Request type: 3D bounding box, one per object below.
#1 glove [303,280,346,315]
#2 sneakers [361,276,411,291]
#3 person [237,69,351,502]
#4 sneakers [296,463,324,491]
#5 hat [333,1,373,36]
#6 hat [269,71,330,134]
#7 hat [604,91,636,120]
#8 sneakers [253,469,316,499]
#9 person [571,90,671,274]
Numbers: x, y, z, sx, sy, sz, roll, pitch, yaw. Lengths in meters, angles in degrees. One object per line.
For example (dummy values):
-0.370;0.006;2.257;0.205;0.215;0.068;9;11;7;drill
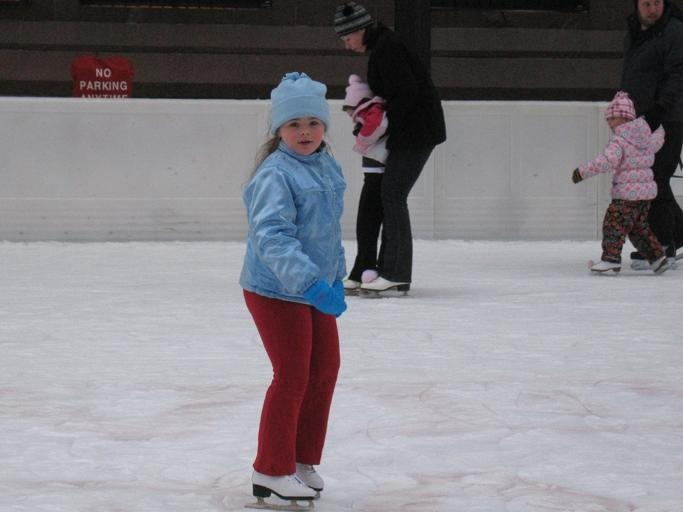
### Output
-0.057;0.133;3.730;0.128;0.153;0.214;-1;11;-2;glove
0.256;0.167;6.676;0.275;0.088;0.097;3;-4;0;sneakers
-0.160;0.089;3.817;0.350;1.346;0.558;-1;12;-1;person
-0.104;0.721;3.781;0.136;0.049;0.046;30;47;30;sneakers
0.064;-1.328;6.493;0.190;0.189;0.210;3;12;15;hat
-0.144;-0.529;3.961;0.215;0.184;0.219;0;2;-20;hat
1.809;-0.979;7.542;0.208;0.184;0.213;-1;0;4;hat
-0.193;0.736;3.746;0.235;0.097;0.077;0;0;4;sneakers
1.809;-0.454;7.480;0.624;1.174;0.337;2;13;9;person
